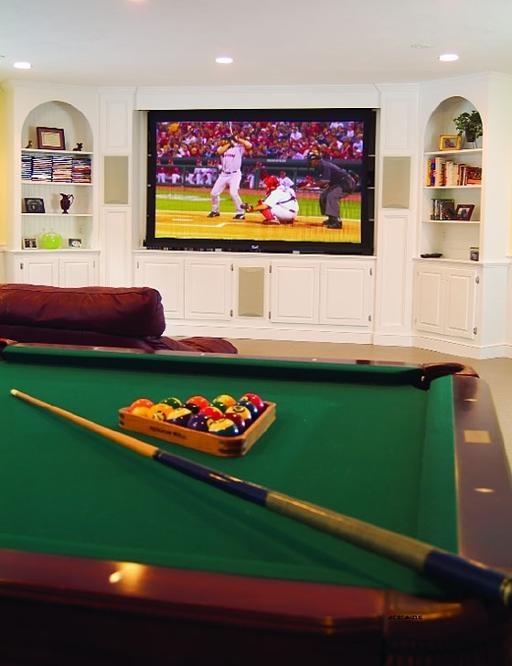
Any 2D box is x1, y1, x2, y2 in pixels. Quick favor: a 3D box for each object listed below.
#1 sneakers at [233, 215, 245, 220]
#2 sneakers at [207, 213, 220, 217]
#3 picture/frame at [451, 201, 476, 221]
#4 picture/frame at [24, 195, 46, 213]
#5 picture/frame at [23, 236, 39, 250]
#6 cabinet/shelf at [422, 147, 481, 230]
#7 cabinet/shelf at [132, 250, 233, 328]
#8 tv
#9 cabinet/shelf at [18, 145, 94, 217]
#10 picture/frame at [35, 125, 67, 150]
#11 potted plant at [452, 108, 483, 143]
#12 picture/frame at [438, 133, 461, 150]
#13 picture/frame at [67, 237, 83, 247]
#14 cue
[{"bbox_3d":[-0.206,-1.427,6.612,0.144,0.053,0.047,3,11,13],"label":"sneakers"},{"bbox_3d":[-0.529,-1.461,6.695,0.146,0.058,0.052,1,37,15],"label":"sneakers"},{"bbox_3d":[2.297,-1.331,5.920,0.223,0.212,0.264,3,5,21],"label":"picture/frame"},{"bbox_3d":[-2.679,-1.552,6.468,0.257,0.205,0.019,-10,5,-37],"label":"picture/frame"},{"bbox_3d":[-2.747,-1.098,6.528,0.029,0.142,0.214,-4,1,38],"label":"picture/frame"},{"bbox_3d":[2.174,-1.623,5.921,0.342,0.890,0.961,5,10,40],"label":"cabinet/shelf"},{"bbox_3d":[-0.806,-0.577,6.605,1.468,0.774,0.506,-2,16,-17],"label":"cabinet/shelf"},{"bbox_3d":[0.176,-1.857,6.489,2.961,1.621,0.089,2,5,6],"label":"tv"},{"bbox_3d":[-2.464,-1.930,6.628,0.781,0.668,0.266,-3,28,-23],"label":"cabinet/shelf"},{"bbox_3d":[-2.503,-2.359,6.494,0.433,0.341,0.045,-1,-1,-32],"label":"picture/frame"},{"bbox_3d":[2.231,-2.178,5.706,0.350,0.312,0.336,-6,13,-8],"label":"potted plant"},{"bbox_3d":[2.118,-2.085,5.864,0.278,0.228,0.099,3,12,12],"label":"picture/frame"},{"bbox_3d":[-2.305,-1.147,6.844,0.168,0.137,0.195,-1,5,-19],"label":"picture/frame"},{"bbox_3d":[0.000,0.245,0.833,0.795,0.055,0.058,10,55,37],"label":"cue"}]
